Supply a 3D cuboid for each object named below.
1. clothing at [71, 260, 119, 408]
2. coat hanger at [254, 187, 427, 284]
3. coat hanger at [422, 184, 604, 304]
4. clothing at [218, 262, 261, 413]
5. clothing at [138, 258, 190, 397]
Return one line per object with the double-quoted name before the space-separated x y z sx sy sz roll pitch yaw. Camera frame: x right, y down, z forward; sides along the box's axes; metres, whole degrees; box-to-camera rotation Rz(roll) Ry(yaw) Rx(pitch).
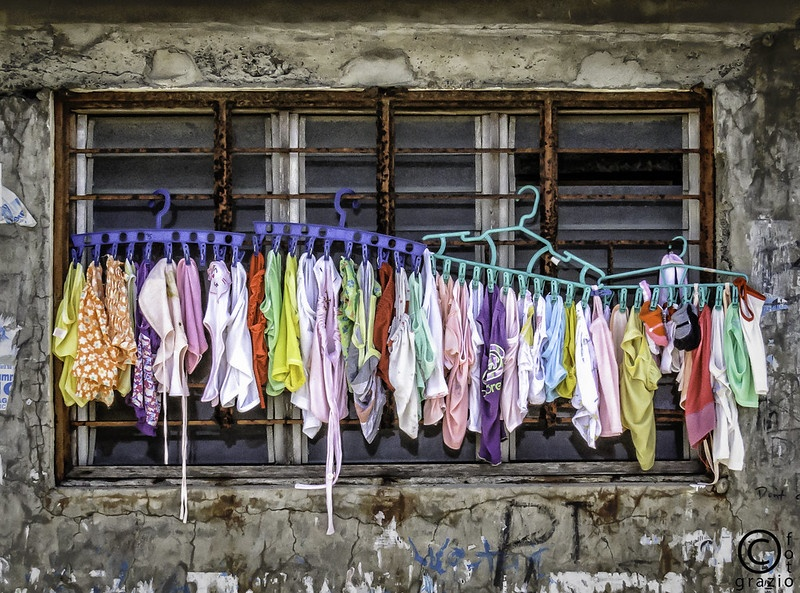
"clothing" -2.157 0.273 12.835 0.332 0.980 0.242 4 -16 -15
"coat hanger" -0.422 -0.470 12.950 1.302 0.635 0.047 7 -34 1
"coat hanger" 0.846 -0.400 12.992 1.429 0.757 0.086 11 6 -18
"clothing" -1.163 0.313 12.904 0.272 1.025 0.309 -4 -15 12
"clothing" -1.674 0.234 12.856 0.285 0.941 0.345 -5 -16 16
